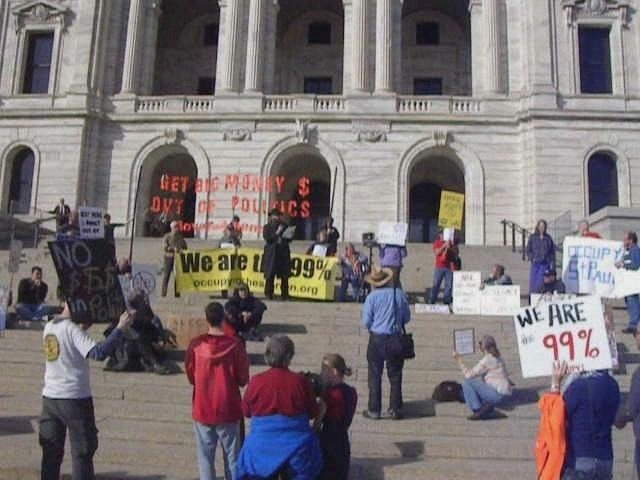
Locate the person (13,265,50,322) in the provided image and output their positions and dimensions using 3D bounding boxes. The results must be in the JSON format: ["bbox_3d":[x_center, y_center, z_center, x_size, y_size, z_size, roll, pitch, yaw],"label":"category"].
[{"bbox_3d":[-9.419,1.878,39.288,0.814,1.944,0.764,3,4,35],"label":"person"}]

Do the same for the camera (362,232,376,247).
[{"bbox_3d":[1.813,0.020,43.298,0.402,0.556,0.535,4,-8,-31],"label":"camera"}]

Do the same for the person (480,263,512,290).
[{"bbox_3d":[6.037,1.264,40.677,0.942,0.820,1.555,1,-4,12],"label":"person"}]

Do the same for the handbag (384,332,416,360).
[{"bbox_3d":[2.366,3.109,34.742,0.870,0.870,0.569,5,-16,-3],"label":"handbag"}]

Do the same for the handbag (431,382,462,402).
[{"bbox_3d":[3.801,4.508,35.484,0.763,0.507,0.507,-5,-4,5],"label":"handbag"}]

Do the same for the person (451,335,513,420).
[{"bbox_3d":[4.879,4.053,35.173,1.453,2.439,0.349,1,-4,7],"label":"person"}]

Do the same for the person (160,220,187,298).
[{"bbox_3d":[-5.130,0.764,41.964,0.822,2.609,0.903,2,-8,-13],"label":"person"}]
